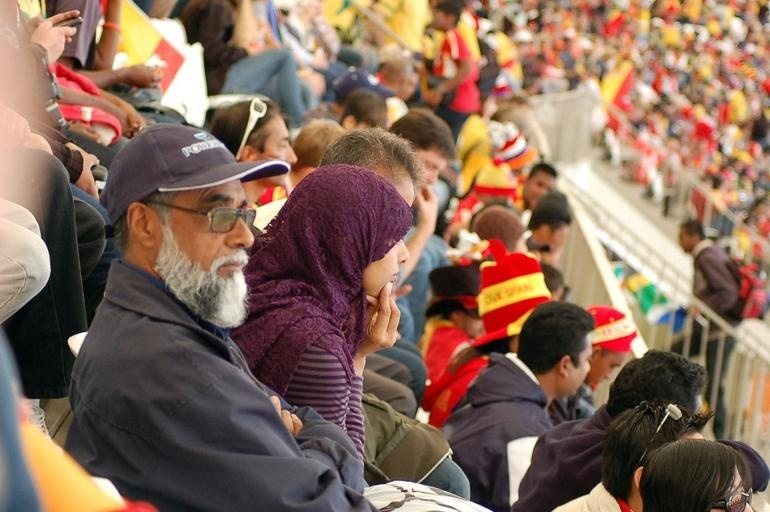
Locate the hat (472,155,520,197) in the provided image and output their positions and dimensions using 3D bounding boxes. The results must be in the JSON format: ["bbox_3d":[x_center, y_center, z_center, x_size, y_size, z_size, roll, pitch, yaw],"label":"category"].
[{"bbox_3d":[1.176,-0.832,9.072,0.492,0.325,0.345,2,4,10],"label":"hat"}]

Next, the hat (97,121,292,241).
[{"bbox_3d":[-0.817,-0.335,3.512,0.567,0.315,0.395,-12,4,0],"label":"hat"}]

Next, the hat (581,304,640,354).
[{"bbox_3d":[1.383,0.453,5.241,0.295,0.299,0.343,18,0,9],"label":"hat"}]

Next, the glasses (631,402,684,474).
[{"bbox_3d":[1.219,0.800,3.772,0.201,0.288,0.075,17,0,-42],"label":"glasses"}]

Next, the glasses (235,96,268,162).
[{"bbox_3d":[-0.793,-0.769,5.087,0.083,0.315,0.227,23,15,-17],"label":"glasses"}]
